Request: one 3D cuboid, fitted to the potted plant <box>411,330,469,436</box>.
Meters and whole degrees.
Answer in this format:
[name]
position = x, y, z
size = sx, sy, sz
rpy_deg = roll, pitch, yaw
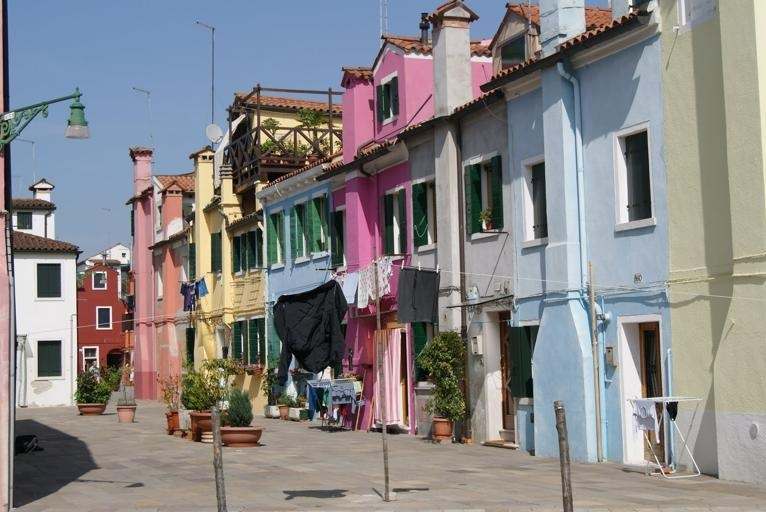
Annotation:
[potted plant]
position = 1.672, 3.176, 32.302
size = 0.911, 2.393, 0.894
rpy_deg = 4, -12, -25
